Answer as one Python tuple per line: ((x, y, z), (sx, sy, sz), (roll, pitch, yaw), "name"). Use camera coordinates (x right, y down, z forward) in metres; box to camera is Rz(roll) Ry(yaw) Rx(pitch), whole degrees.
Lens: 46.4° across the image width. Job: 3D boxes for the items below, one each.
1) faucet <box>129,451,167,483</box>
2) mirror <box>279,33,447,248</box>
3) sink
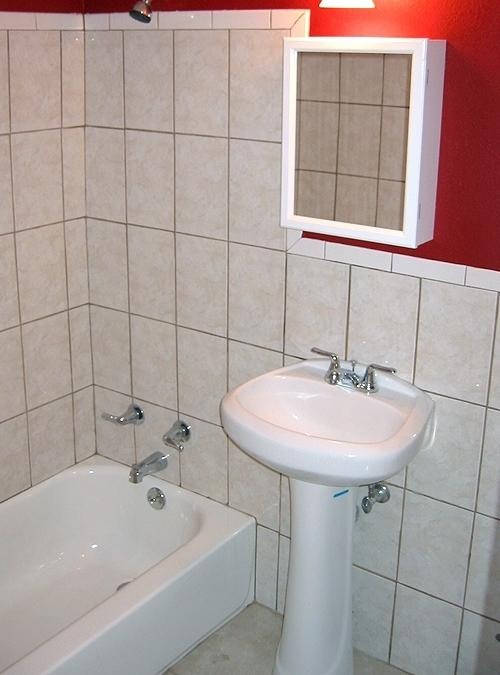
((-0.353, 0.448, 2.019), (0.068, 0.061, 0.152), (3, 15, 25), "faucet")
((0.256, -0.442, 1.274), (0.396, 0.536, 0.125), (13, 21, 36), "mirror")
((0.190, 0.199, 1.305), (0.328, 0.164, 0.351), (-14, 24, -43), "sink")
